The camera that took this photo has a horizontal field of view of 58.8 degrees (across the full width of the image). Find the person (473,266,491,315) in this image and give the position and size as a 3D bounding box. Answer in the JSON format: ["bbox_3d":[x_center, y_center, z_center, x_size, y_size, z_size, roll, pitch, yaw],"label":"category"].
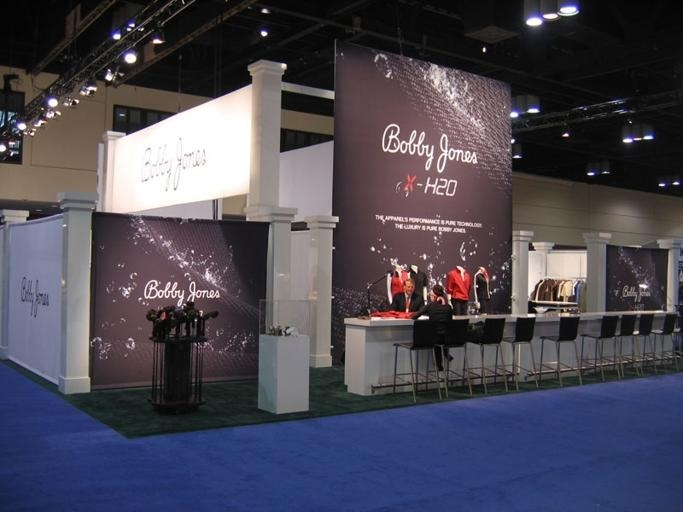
[{"bbox_3d":[2.798,0.668,11.979,0.444,0.913,0.249,0,2,-44],"label":"person"}]

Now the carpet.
[{"bbox_3d":[-0.954,1.784,8.207,6.113,0.198,3.036,1,1,-23],"label":"carpet"}]

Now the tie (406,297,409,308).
[{"bbox_3d":[0.996,0.718,9.203,0.048,0.156,0.191,1,1,10],"label":"tie"}]

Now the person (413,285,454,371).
[{"bbox_3d":[1.347,1.041,8.792,0.530,1.222,1.484,1,1,11],"label":"person"}]
